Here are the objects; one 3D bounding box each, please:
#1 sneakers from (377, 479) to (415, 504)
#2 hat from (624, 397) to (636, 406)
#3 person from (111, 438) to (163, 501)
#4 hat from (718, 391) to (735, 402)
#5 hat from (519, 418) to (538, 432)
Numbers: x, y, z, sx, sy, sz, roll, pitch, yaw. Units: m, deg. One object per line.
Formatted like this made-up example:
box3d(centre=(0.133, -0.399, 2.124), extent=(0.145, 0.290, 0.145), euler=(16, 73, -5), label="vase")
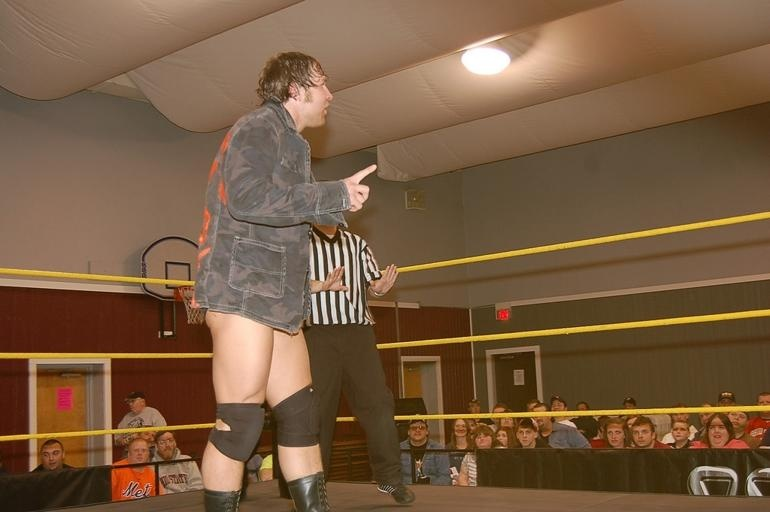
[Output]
box3d(centre=(0.082, 1.376, 3.552), extent=(0.245, 0.108, 0.096), euler=(-4, 8, 39), label="sneakers")
box3d(centre=(3.542, 2.100, 8.714), extent=(0.104, 0.134, 0.136), euler=(-9, -28, 17), label="hat")
box3d(centre=(-2.749, 2.288, 6.623), extent=(0.404, 0.563, 1.056), euler=(4, -13, -23), label="person")
box3d(centre=(4.496, 1.843, 7.926), extent=(0.196, 0.104, 0.319), euler=(-3, -15, 23), label="hat")
box3d(centre=(1.542, 1.791, 6.470), extent=(0.173, 0.194, 0.237), euler=(-2, -29, 17), label="hat")
